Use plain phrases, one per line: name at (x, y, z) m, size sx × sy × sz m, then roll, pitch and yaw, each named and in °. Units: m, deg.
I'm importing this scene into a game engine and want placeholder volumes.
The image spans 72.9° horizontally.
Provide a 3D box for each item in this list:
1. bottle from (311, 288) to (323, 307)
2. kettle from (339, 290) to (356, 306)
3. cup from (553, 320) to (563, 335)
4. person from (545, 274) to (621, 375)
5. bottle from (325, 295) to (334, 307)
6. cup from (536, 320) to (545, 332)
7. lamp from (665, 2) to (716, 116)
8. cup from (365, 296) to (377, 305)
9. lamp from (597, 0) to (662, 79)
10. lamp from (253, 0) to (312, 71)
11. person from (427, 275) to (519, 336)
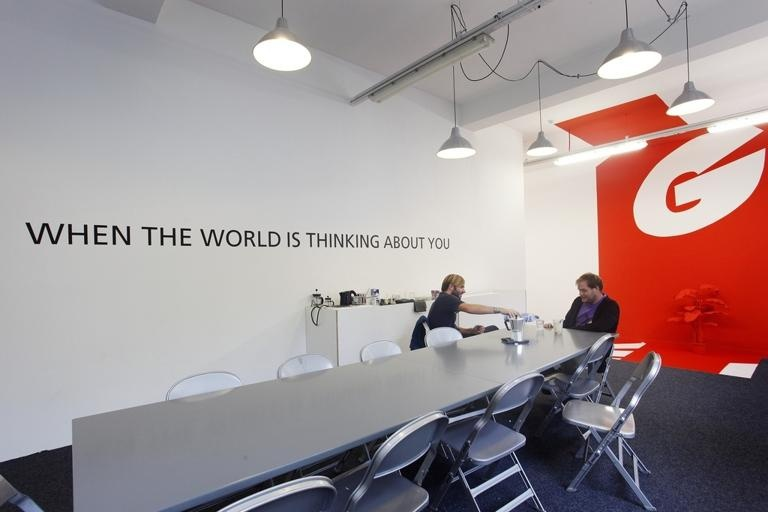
bottle at (-0.926, 0.587, 7.372) m, size 0.192 × 0.231 × 0.235 m, roll -1°, pitch 2°, yaw -17°
kettle at (-0.494, 0.617, 7.509) m, size 0.227 × 0.212 × 0.158 m, roll 7°, pitch -9°, yaw -27°
cup at (2.194, 0.908, 6.541) m, size 0.150 × 0.165 × 0.151 m, roll -2°, pitch -4°, yaw 0°
person at (2.657, 0.857, 6.980) m, size 0.894 × 1.160 × 0.920 m, roll 1°, pitch 4°, yaw -1°
bottle at (-0.777, 0.634, 7.470) m, size 0.149 × 0.137 × 0.258 m, roll -1°, pitch 1°, yaw -5°
cup at (2.004, 0.889, 6.648) m, size 0.112 × 0.132 × 0.134 m, roll -6°, pitch 2°, yaw -33°
lamp at (4.379, -2.589, 7.398) m, size 0.500 × 1.429 × 2.168 m, roll 1°, pitch 2°, yaw 32°
cup at (-0.181, 0.663, 7.705) m, size 0.110 × 0.104 × 0.191 m, roll 4°, pitch -1°, yaw -25°
lamp at (2.610, -2.182, 5.562) m, size 0.450 × 0.437 × 0.414 m, roll -1°, pitch 2°, yaw -18°
lamp at (-1.085, -2.278, 5.542) m, size 0.432 × 0.489 × 0.395 m, roll 0°, pitch 2°, yaw 35°
person at (1.213, 0.718, 7.153) m, size 1.129 × 0.867 × 0.732 m, roll 6°, pitch 19°, yaw 18°
